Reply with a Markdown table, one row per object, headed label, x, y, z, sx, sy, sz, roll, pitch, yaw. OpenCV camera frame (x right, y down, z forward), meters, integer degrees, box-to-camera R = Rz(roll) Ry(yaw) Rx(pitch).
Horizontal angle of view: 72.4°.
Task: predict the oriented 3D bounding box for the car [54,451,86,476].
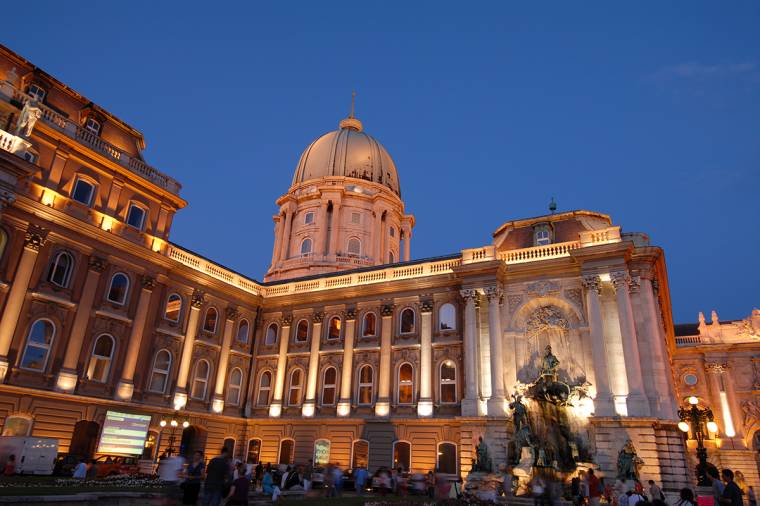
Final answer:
| label | x | y | z | sx | sy | sz | roll | pitch | yaw |
| --- | --- | --- | --- | --- | --- | --- | --- | --- | --- |
| car | -19.445 | 13.374 | 32.323 | 1.366 | 1.050 | 2.258 | 5 | -3 | -24 |
